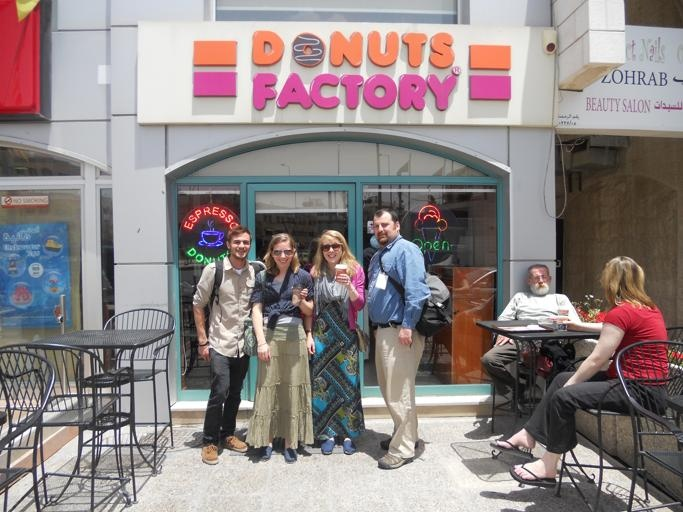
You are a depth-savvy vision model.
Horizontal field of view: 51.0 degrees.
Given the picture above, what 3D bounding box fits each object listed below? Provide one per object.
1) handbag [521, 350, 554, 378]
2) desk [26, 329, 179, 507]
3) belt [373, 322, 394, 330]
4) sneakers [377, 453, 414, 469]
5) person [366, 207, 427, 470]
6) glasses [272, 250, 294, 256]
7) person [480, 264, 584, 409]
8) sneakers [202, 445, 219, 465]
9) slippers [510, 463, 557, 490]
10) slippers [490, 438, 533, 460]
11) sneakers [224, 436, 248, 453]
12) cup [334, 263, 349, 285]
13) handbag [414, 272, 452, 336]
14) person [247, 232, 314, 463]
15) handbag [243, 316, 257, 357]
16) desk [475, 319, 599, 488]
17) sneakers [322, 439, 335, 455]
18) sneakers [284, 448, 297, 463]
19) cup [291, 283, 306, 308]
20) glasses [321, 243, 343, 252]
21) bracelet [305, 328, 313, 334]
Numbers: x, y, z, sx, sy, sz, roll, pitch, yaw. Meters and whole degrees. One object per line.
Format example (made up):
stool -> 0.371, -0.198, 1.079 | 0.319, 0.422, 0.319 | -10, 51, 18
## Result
handbag -> 2.166, 1.176, 7.921 | 0.299, 0.119, 0.243 | 12, 8, 42
desk -> -2.579, 1.621, 7.645 | 1.322, 1.885, 2.558 | 0, -3, -3
belt -> 0.447, 0.709, 7.392 | 0.161, 0.064, 0.164 | -1, -3, 4
sneakers -> 0.561, 2.071, 7.366 | 0.339, 0.146, 0.150 | 3, -8, -19
person -> 0.585, 0.835, 7.402 | 0.619, 2.638, 0.419 | 0, 1, 3
glasses -> -0.599, -0.044, 7.415 | 0.199, 0.062, 0.068 | 0, 1, -9
person -> 2.145, 0.852, 8.061 | 1.057, 1.622, 0.952 | 0, -4, -3
sneakers -> -1.353, 2.039, 7.430 | 0.162, 0.187, 0.106 | 0, 1, -4
slippers -> 1.841, 2.052, 6.835 | 0.338, 0.119, 0.196 | 15, -7, 16
slippers -> 1.736, 1.920, 7.144 | 0.484, 0.136, 0.268 | 23, -25, -18
sneakers -> -1.117, 1.998, 7.657 | 0.272, 0.107, 0.113 | 0, -1, 37
cup -> 0.010, 0.176, 7.139 | 0.134, 0.198, 0.234 | 0, 1, -1
handbag -> 1.006, 0.532, 7.414 | 0.462, 0.886, 0.699 | 1, -5, 4
person -> -0.629, 0.944, 7.465 | 0.683, 2.341, 0.247 | 0, 1, -4
handbag -> -0.946, 0.826, 7.456 | 0.138, 0.395, 0.140 | 0, 1, -8
desk -> 2.114, 1.261, 7.675 | 1.122, 1.207, 1.170 | 2, 1, -9
sneakers -> -0.137, 2.003, 7.559 | 0.107, 0.086, 0.210 | 0, -10, 4
sneakers -> -0.514, 2.054, 7.442 | 0.128, 0.140, 0.106 | 0, 1, -8
cup -> -0.435, 0.404, 7.242 | 0.158, 0.206, 0.192 | 9, 37, -4
glasses -> -0.107, -0.096, 7.439 | 0.210, 0.083, 0.092 | 0, 1, 6
bracelet -> -0.341, 0.787, 7.551 | 0.057, 0.060, 0.060 | 3, 6, 18
